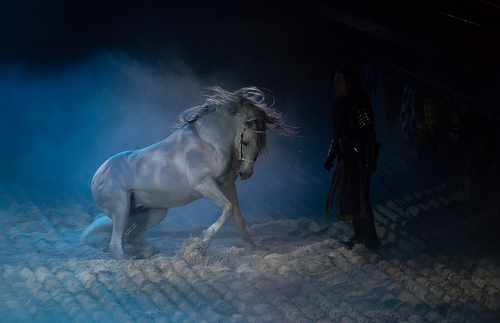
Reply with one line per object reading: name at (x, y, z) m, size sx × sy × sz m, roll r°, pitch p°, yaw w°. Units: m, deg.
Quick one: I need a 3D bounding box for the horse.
horse at (-0.994, 0.320, 5.569) m, size 3.256 × 2.207 × 0.751 m, roll -11°, pitch -10°, yaw 5°
